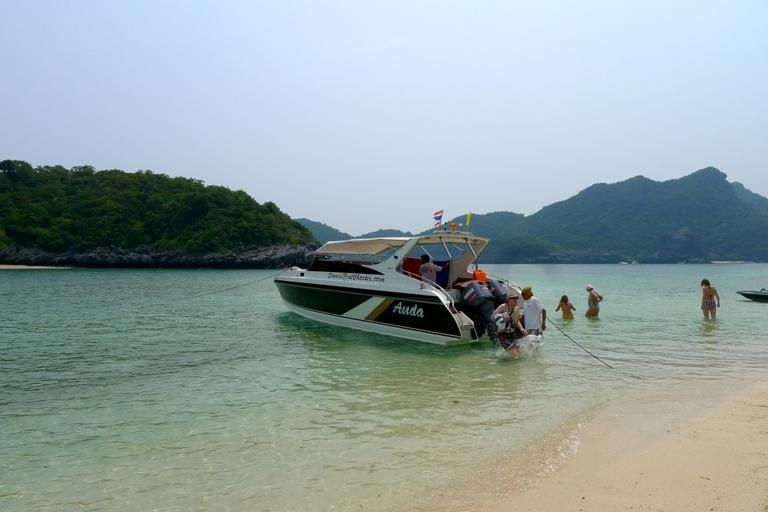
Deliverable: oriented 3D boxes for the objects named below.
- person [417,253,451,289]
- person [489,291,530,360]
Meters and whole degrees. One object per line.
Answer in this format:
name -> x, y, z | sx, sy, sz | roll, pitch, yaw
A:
person -> 1.764, 0.496, 16.722 | 1.324, 1.048, 0.317 | 6, 34, 31
person -> 3.775, 2.087, 14.576 | 1.023, 1.868, 0.583 | 0, 8, 8
